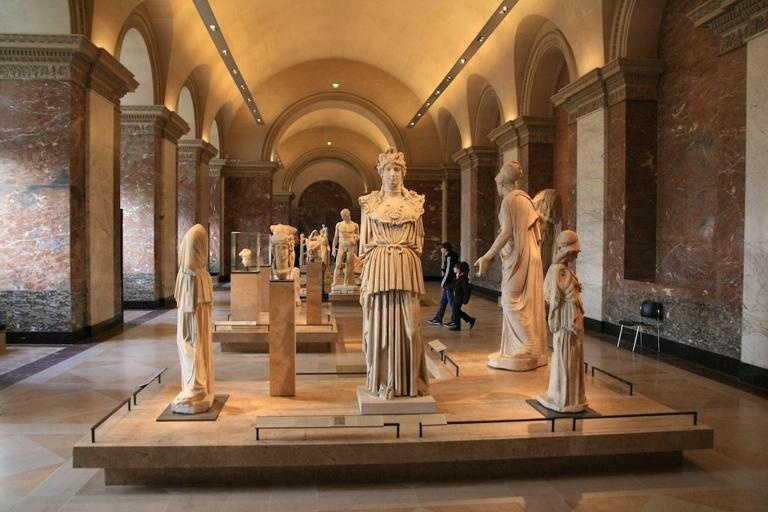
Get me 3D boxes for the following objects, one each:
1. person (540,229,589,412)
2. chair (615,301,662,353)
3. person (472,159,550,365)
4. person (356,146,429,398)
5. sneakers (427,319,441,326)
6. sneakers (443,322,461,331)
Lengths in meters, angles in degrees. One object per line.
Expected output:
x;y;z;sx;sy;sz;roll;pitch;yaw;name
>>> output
2.427;0.869;7.427;0.604;2.347;0.671;1;15;6;person
5.174;1.386;11.339;0.796;0.958;0.780;0;1;-44;chair
2.240;0.168;9.173;1.047;3.355;0.972;4;15;15;person
0.118;0.250;7.497;0.883;3.113;1.117;-1;15;-3;person
1.244;1.634;13.869;0.318;0.130;0.113;5;-5;30;sneakers
1.591;1.610;13.044;0.423;0.172;0.138;8;-8;-24;sneakers
